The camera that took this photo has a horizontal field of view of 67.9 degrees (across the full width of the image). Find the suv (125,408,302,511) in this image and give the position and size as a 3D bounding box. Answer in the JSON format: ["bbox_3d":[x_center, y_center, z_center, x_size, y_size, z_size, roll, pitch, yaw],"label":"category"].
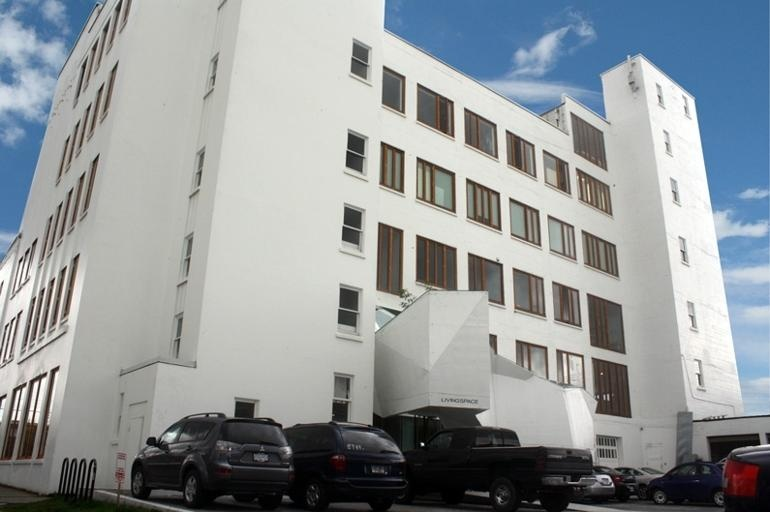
[{"bbox_3d":[-5.508,6.341,18.080,2.784,2.089,4.761,20,-24,-41],"label":"suv"}]
